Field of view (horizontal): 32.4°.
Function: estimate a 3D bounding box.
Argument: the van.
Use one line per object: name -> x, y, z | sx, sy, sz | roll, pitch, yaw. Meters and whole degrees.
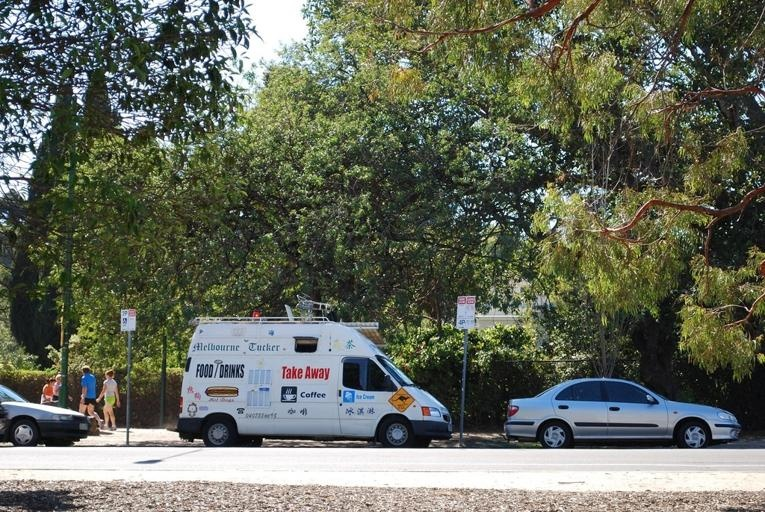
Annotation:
van -> -1.515, 3.207, 34.016 | 6.988, 4.636, 2.991 | -1, -4, 4
